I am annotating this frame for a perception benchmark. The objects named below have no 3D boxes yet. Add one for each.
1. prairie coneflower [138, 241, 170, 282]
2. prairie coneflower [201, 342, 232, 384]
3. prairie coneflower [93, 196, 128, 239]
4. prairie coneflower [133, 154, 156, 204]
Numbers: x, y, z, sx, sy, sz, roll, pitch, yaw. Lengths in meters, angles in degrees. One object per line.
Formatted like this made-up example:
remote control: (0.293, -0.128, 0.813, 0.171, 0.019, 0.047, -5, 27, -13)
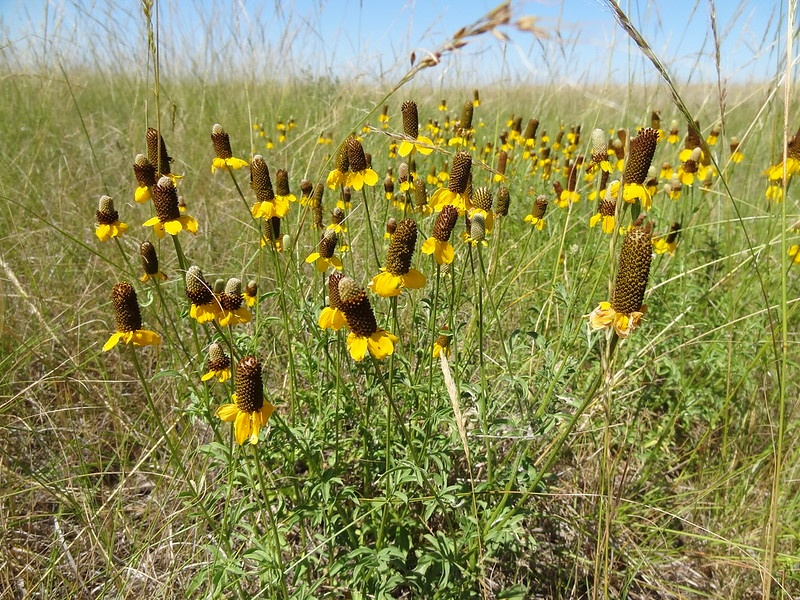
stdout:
prairie coneflower: (-2.080, -0.304, 5.948, 0.209, 0.326, 0.220, 11, 44, 5)
prairie coneflower: (-1.220, 0.418, 4.762, 0.185, 0.237, 0.204, -3, 17, 12)
prairie coneflower: (-2.172, -0.626, 5.268, 0.233, 0.310, 0.244, 9, 24, 33)
prairie coneflower: (-1.896, -0.885, 5.188, 0.132, 0.353, 0.162, 20, 27, 36)
